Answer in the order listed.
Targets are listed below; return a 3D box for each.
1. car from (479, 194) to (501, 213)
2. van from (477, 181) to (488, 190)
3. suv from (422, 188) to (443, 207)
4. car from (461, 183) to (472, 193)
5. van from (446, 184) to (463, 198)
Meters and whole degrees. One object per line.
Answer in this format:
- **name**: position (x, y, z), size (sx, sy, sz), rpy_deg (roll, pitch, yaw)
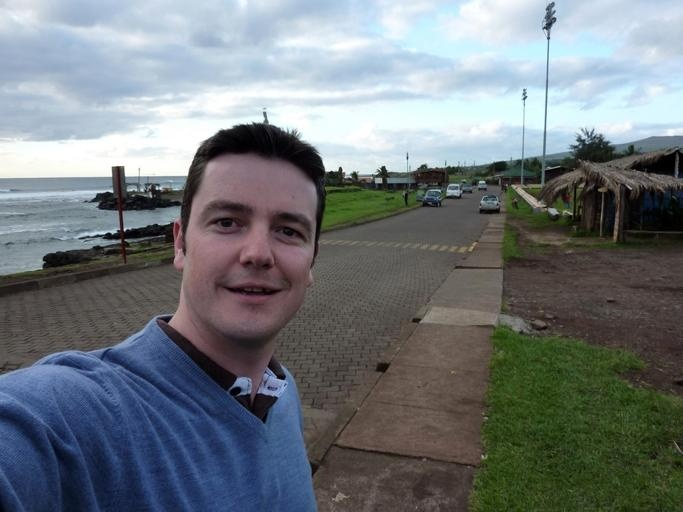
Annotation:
- **car**: position (13.618, -4.659, 39.249), size (1.512, 1.367, 1.940), rpy_deg (2, 9, 32)
- **van**: position (27.164, -13.432, 82.240), size (1.581, 1.566, 3.508), rpy_deg (0, 9, 14)
- **suv**: position (10.413, -6.566, 48.757), size (1.678, 1.465, 2.800), rpy_deg (0, 5, 14)
- **car**: position (22.190, -11.878, 75.637), size (1.341, 1.217, 3.289), rpy_deg (0, 10, 15)
- **van**: position (16.361, -9.404, 62.269), size (1.901, 1.860, 3.629), rpy_deg (0, 10, 17)
